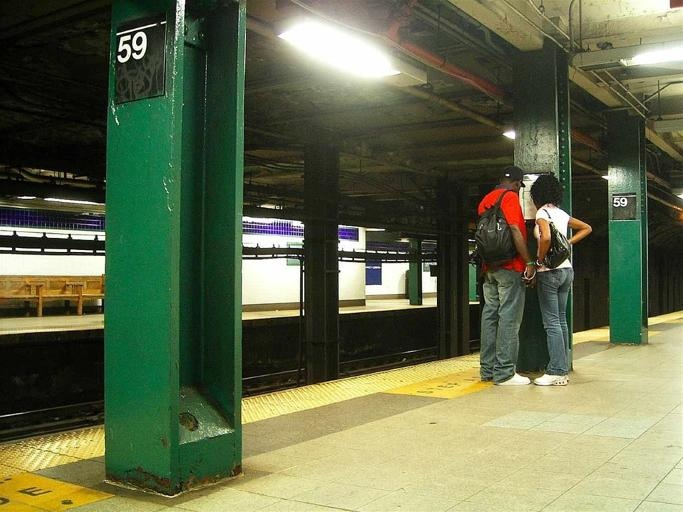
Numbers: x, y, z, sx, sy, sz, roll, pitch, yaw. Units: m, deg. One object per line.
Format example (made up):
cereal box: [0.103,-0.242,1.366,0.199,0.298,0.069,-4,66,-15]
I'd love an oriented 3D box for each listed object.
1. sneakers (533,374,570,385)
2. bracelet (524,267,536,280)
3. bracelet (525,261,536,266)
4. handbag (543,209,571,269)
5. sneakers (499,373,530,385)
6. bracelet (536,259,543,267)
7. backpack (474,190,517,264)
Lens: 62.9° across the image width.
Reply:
sneakers: [2.663,1.533,7.074,0.372,0.173,0.166,3,-3,7]
bracelet: [2.320,0.224,6.892,0.125,0.165,0.150,19,23,13]
bracelet: [2.373,0.090,6.954,0.083,0.060,0.237,-4,-4,35]
handbag: [2.647,-0.199,6.922,0.276,0.769,0.600,-7,8,32]
sneakers: [2.208,1.585,7.129,0.351,0.151,0.166,-4,-3,10]
bracelet: [2.458,0.085,6.939,0.058,0.079,0.041,14,-16,-11]
backpack: [1.911,-0.353,6.988,0.498,0.961,0.346,-3,-4,19]
